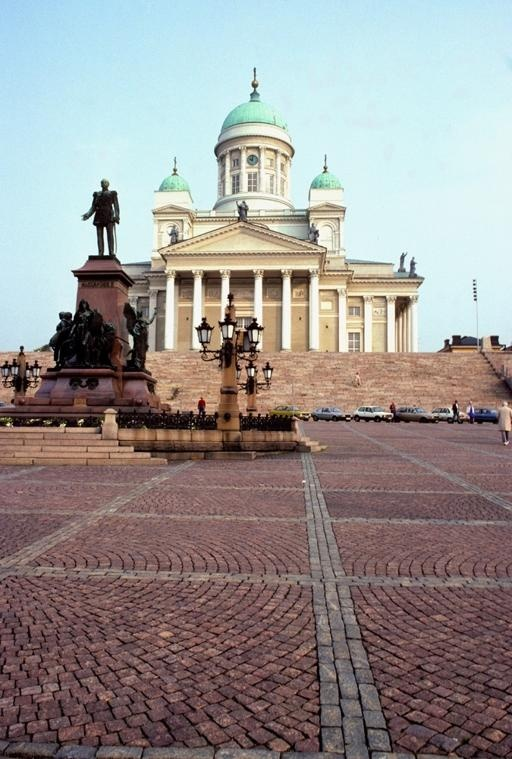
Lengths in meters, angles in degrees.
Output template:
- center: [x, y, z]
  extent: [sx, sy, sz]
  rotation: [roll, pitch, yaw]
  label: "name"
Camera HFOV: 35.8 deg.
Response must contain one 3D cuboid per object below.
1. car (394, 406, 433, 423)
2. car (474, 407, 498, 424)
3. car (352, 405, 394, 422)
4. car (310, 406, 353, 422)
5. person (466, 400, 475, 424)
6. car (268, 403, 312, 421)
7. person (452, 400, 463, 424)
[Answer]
- center: [8.992, 2.067, 45.100]
  extent: [0.937, 0.917, 2.866]
  rotation: [1, 1, -25]
  label: "car"
- center: [12.772, 2.045, 44.355]
  extent: [0.657, 0.890, 1.622]
  rotation: [1, 1, -33]
  label: "car"
- center: [6.676, 2.016, 45.422]
  extent: [1.638, 0.773, 1.007]
  rotation: [-4, -4, 31]
  label: "car"
- center: [4.094, 2.032, 45.317]
  extent: [1.595, 0.703, 1.002]
  rotation: [-5, -5, 28]
  label: "car"
- center: [12.093, 1.935, 44.626]
  extent: [0.370, 1.212, 0.959]
  rotation: [1, 0, 17]
  label: "person"
- center: [2.011, 1.760, 42.950]
  extent: [1.369, 0.911, 2.372]
  rotation: [3, -4, -39]
  label: "car"
- center: [11.195, 1.835, 44.242]
  extent: [0.528, 1.312, 1.626]
  rotation: [1, 1, 16]
  label: "person"
